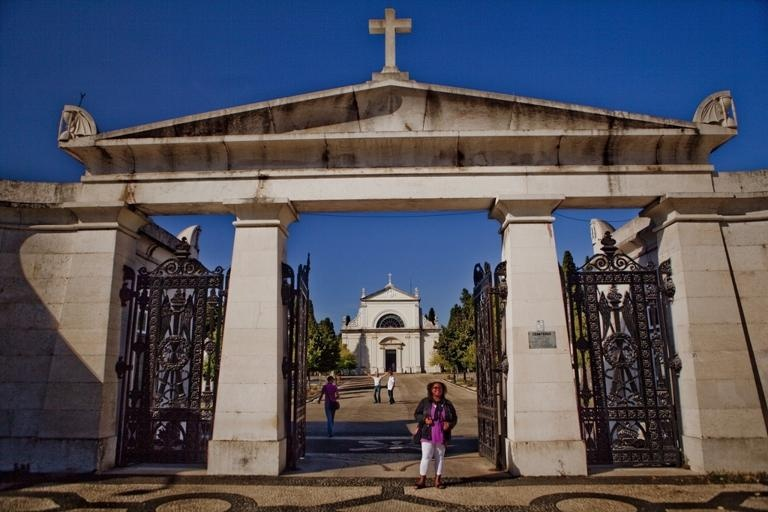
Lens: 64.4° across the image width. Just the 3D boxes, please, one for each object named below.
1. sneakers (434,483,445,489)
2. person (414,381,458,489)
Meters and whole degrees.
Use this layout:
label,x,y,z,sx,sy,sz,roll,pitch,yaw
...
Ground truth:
label,x,y,z,sx,sy,sz,roll,pitch,yaw
sneakers,1.176,4.784,12.741,0.209,0.071,0.162,0,-8,-1
person,1.097,3.757,12.935,0.846,2.155,0.535,0,-7,4
